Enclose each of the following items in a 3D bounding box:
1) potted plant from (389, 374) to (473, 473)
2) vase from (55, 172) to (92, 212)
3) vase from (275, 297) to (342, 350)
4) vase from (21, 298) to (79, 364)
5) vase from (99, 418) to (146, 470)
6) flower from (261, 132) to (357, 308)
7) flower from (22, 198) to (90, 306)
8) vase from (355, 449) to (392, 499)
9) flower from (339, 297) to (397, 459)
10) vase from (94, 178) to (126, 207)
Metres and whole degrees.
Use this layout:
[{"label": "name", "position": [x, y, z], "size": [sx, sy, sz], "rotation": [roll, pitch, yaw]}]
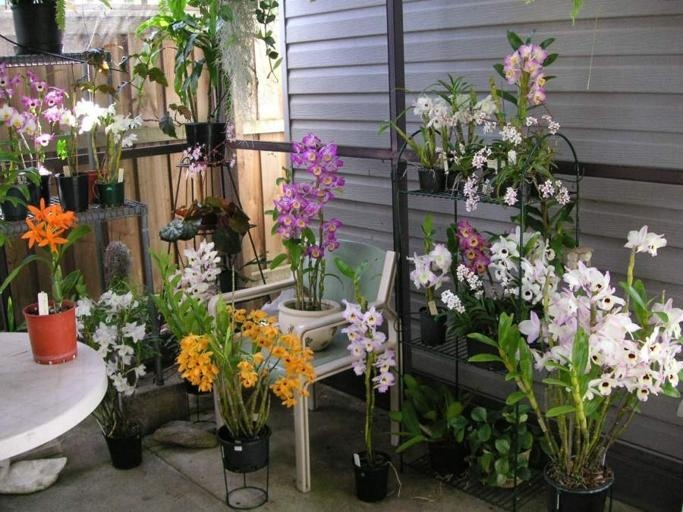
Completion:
[{"label": "potted plant", "position": [0.423, 0.804, 2.479], "size": [0.414, 0.369, 0.396], "rotation": [-5, 9, -22]}, {"label": "vase", "position": [-1.400, -0.338, 2.679], "size": [0.178, 0.204, 0.186], "rotation": [-1, 10, 4]}, {"label": "vase", "position": [-0.177, 0.311, 2.474], "size": [0.242, 0.177, 0.252], "rotation": [3, 10, 12]}, {"label": "vase", "position": [-0.839, 0.210, 1.532], "size": [0.158, 0.175, 0.162], "rotation": [-2, 4, -13]}, {"label": "vase", "position": [-1.088, 0.937, 2.598], "size": [0.194, 0.201, 0.222], "rotation": [-3, 8, -6]}, {"label": "flower", "position": [-0.184, -0.207, 2.780], "size": [0.403, 0.891, 0.803], "rotation": [-1, 15, 0]}, {"label": "flower", "position": [-1.306, -0.017, 2.305], "size": [0.212, 0.477, 0.360], "rotation": [-13, 45, -39]}, {"label": "vase", "position": [0.133, 1.010, 2.355], "size": [0.174, 0.179, 0.191], "rotation": [0, 1, 2]}, {"label": "flower", "position": [0.142, 0.575, 2.526], "size": [0.271, 0.928, 0.618], "rotation": [-1, 15, 1]}, {"label": "vase", "position": [-1.256, -0.338, 2.784], "size": [0.139, 0.115, 0.128], "rotation": [-3, 9, -11]}]
